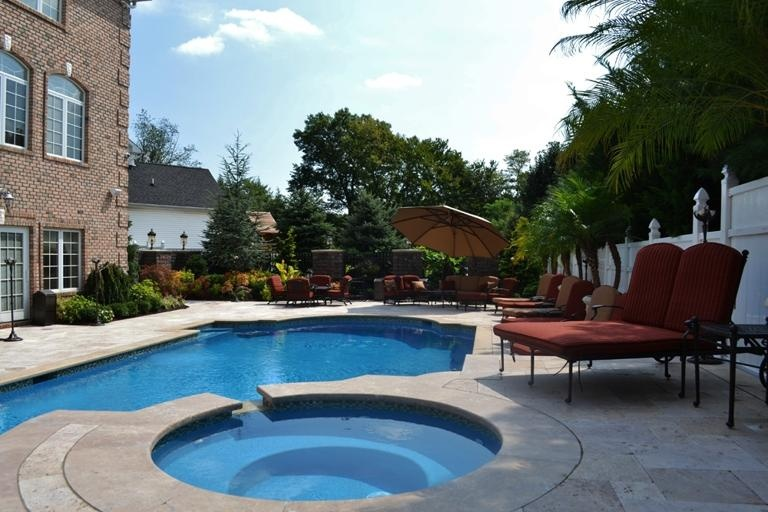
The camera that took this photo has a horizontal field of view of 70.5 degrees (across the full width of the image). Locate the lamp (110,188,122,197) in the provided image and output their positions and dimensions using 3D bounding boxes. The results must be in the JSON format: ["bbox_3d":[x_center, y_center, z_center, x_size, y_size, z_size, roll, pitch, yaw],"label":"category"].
[{"bbox_3d":[-8.565,-2.029,17.375,0.256,0.215,0.346,-15,-3,15],"label":"lamp"}]

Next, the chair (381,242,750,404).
[{"bbox_3d":[3.596,0.825,8.597,3.015,2.066,2.727,1,-4,-4],"label":"chair"}]
